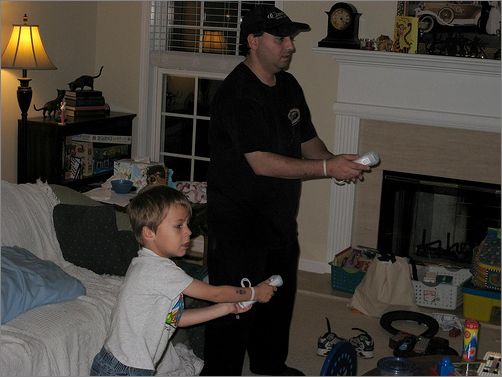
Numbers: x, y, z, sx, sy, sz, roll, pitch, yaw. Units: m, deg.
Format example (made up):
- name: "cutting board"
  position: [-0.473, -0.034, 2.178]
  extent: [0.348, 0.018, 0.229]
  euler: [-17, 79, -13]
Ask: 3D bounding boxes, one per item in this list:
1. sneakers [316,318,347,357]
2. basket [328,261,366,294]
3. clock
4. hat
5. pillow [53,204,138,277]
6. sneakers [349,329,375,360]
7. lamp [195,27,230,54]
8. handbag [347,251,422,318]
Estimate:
- name: "sneakers"
  position: [0.538, 0.989, 2.836]
  extent: [0.283, 0.186, 0.093]
  euler: [3, -5, -44]
- name: "basket"
  position: [0.817, 0.761, 3.667]
  extent: [0.258, 0.182, 0.196]
  euler: [8, 4, 24]
- name: "clock"
  position: [0.755, -1.351, 3.555]
  extent: [0.363, 0.378, 0.204]
  euler: [8, 15, 25]
- name: "hat"
  position: [0.099, -0.697, 1.867]
  extent: [0.239, 0.119, 0.162]
  euler: [-4, 17, 15]
- name: "pillow"
  position: [-0.910, 0.278, 2.708]
  extent: [0.450, 0.467, 0.393]
  euler: [10, 14, 17]
- name: "sneakers"
  position: [0.721, 1.027, 2.834]
  extent: [0.109, 0.129, 0.280]
  euler: [10, -4, -7]
- name: "lamp"
  position: [-0.367, -1.443, 4.220]
  extent: [0.236, 0.179, 0.247]
  euler: [12, 25, 17]
- name: "handbag"
  position: [1.033, 0.756, 3.357]
  extent: [0.511, 0.415, 0.302]
  euler: [3, 5, 27]
